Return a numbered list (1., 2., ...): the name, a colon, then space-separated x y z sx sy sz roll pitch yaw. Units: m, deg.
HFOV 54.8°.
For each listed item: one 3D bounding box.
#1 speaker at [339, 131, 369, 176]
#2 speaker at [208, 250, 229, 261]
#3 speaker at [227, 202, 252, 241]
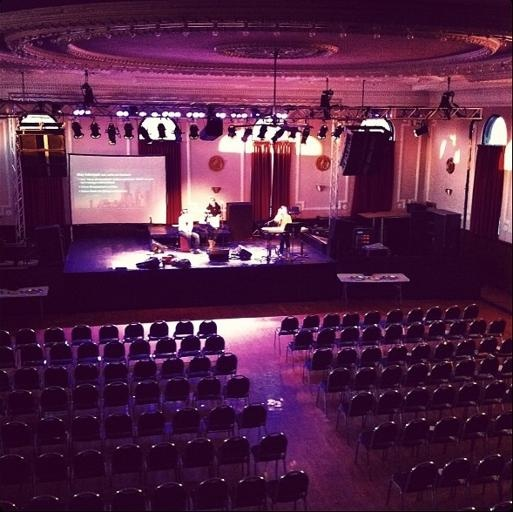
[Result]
1. speaker: 2.172 -2.257 10.867 0.493 0.927 0.546 1 12 0
2. speaker: -1.049 -0.024 13.790 0.410 0.268 0.315 -1 11 -9
3. speaker: -0.582 -1.214 17.531 0.881 1.286 0.569 0 12 -2
